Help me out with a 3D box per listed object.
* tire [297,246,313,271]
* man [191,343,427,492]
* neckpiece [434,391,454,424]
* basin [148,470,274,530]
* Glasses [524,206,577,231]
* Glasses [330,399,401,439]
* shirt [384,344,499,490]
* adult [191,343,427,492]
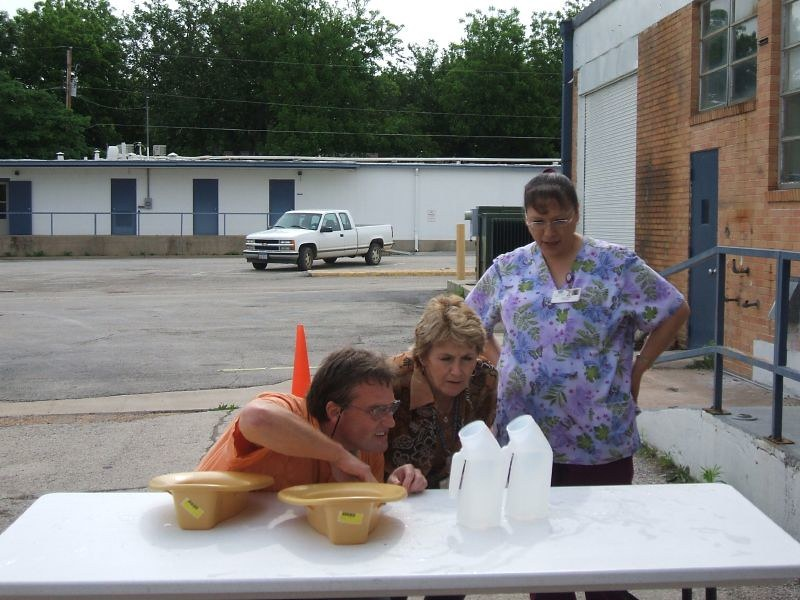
[{"bbox_3d":[-2.952,-1.279,24.139,0.213,0.581,0.574,2,37,25],"label":"tire"},{"bbox_3d":[-0.343,0.546,3.456,0.822,0.651,1.252,0,0,-22],"label":"man"},{"bbox_3d":[0.203,0.496,3.656,0.106,0.155,0.114,5,5,11],"label":"neckpiece"},{"bbox_3d":[-0.742,0.783,3.141,0.503,0.179,0.524,-1,-2,0],"label":"basin"},{"bbox_3d":[0.710,-0.376,3.695,0.226,0.099,0.090,1,3,9],"label":"Glasses"},{"bbox_3d":[-0.149,0.498,3.245,0.272,0.156,0.083,0,3,-7],"label":"Glasses"},{"bbox_3d":[0.161,0.527,3.470,0.590,0.599,0.348,1,17,-22],"label":"shirt"},{"bbox_3d":[-0.378,0.543,3.456,0.887,0.659,1.250,-1,0,-14],"label":"adult"}]
